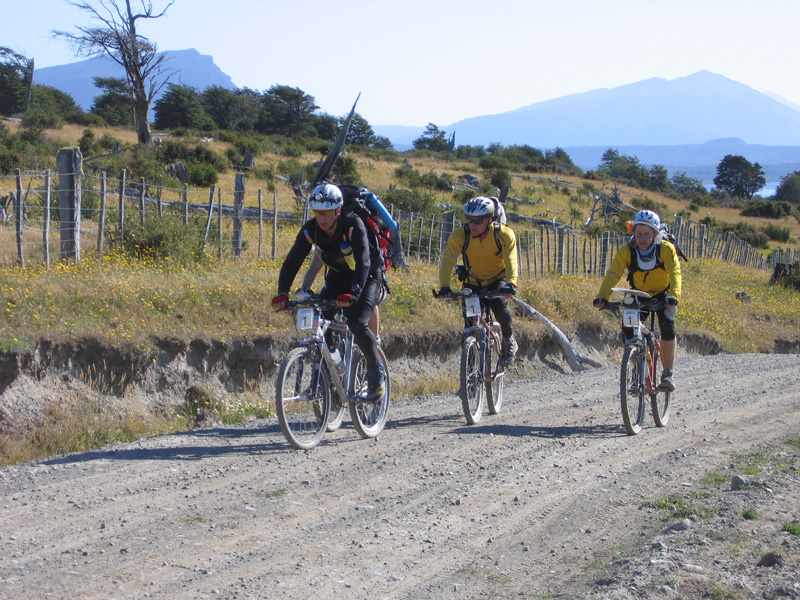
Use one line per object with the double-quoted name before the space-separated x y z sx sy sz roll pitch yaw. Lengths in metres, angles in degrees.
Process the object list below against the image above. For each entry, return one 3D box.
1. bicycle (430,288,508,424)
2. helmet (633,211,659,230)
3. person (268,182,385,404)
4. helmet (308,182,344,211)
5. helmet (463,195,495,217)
"bicycle" 1.189 0.831 15.323 0.666 2.040 1.313 2 5 23
"helmet" 3.658 -1.226 14.891 0.244 0.218 0.391 8 -9 31
"person" -0.873 -0.076 13.789 1.290 3.007 0.960 0 5 -1
"helmet" -0.982 -1.364 13.419 0.422 0.364 0.327 -1 5 -9
"helmet" 1.171 -1.366 14.967 0.427 0.298 0.403 0 6 2
